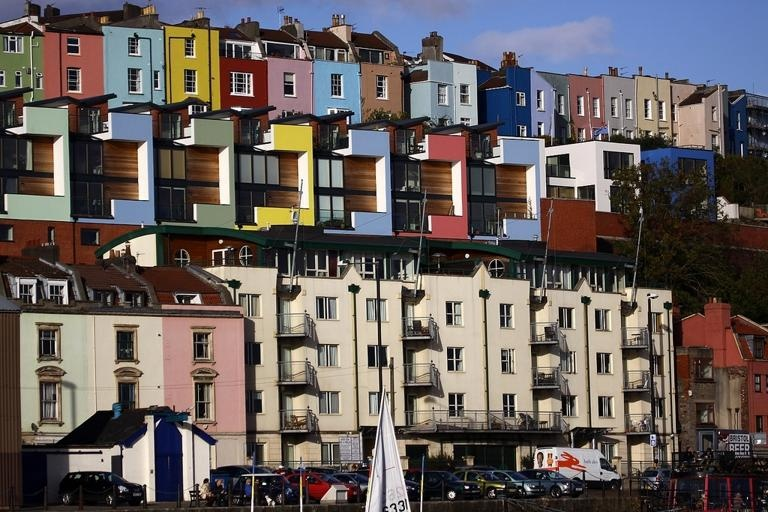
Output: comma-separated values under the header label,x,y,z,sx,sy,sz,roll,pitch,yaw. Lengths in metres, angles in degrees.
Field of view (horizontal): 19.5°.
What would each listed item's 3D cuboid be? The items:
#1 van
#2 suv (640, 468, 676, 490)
label,x,y,z,sx,sy,sz,roll,pitch,yaw
van,15.838,17.214,185.565,6.359,2.851,3.316,0,-1,-25
suv,22.022,17.804,183.592,2.112,1.497,4.296,-1,1,27
